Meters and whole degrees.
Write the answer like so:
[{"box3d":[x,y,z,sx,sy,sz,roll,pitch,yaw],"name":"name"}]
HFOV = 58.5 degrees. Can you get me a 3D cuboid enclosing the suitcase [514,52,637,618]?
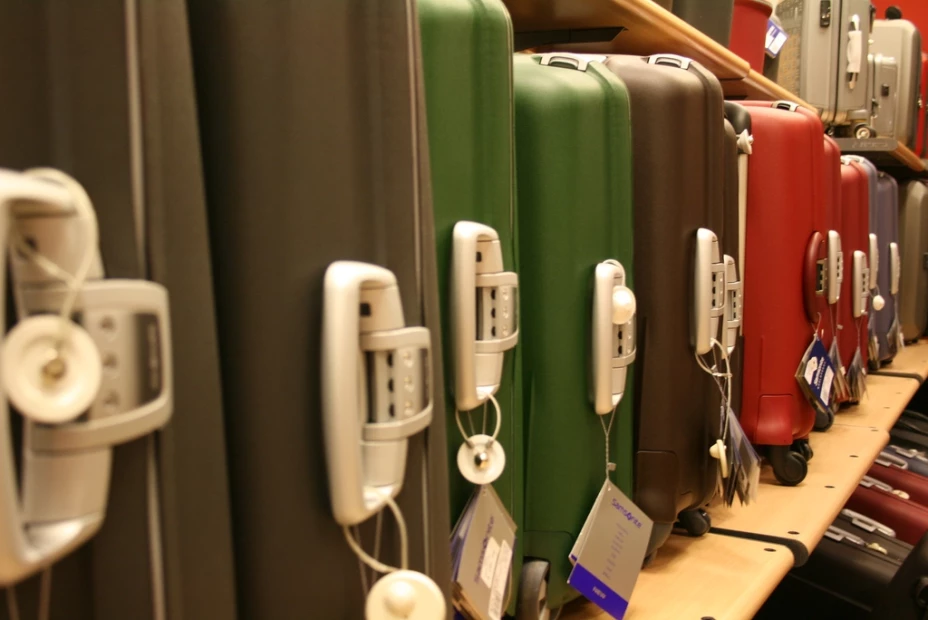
[{"box3d":[0.117,0.034,0.859,0.114,0.580,0.192,-1,14,9],"name":"suitcase"}]
